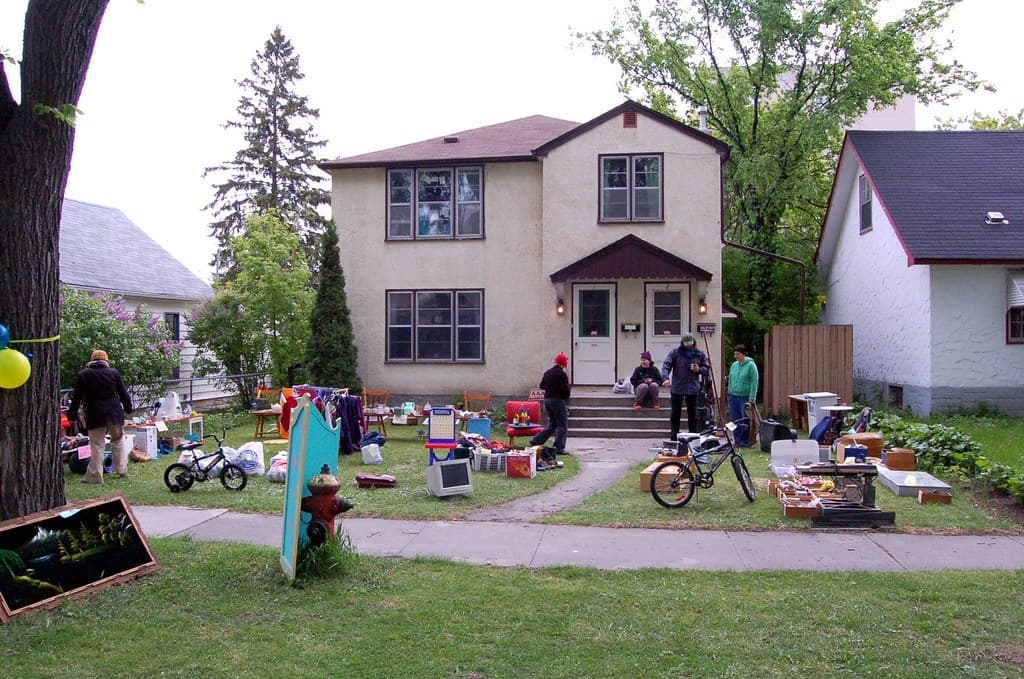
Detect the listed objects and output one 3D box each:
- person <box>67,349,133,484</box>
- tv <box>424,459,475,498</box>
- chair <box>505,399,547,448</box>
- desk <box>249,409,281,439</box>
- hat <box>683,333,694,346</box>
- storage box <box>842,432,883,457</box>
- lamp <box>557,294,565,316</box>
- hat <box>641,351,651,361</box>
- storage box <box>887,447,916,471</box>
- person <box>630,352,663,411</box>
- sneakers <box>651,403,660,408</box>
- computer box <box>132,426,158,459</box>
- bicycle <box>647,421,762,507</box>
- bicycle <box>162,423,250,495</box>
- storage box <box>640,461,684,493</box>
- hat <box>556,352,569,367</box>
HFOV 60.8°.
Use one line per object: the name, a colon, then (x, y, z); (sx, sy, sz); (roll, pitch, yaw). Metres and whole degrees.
person: (-7.600, 1.423, 16.116); (0.947, 2.358, 1.122); (-2, 9, -12)
tv: (-1.061, 2.419, 15.106); (0.657, 0.578, 0.645); (2, -4, -32)
chair: (0.240, 2.002, 20.468); (0.881, 1.211, 1.164); (-2, -14, 1)
desk: (-6.121, 2.171, 21.620); (0.955, 0.720, 0.968); (0, -4, -9)
hat: (3.802, 0.029, 18.800); (0.189, 0.214, 0.273); (-3, -4, 9)
storage box: (6.743, 2.033, 16.754); (0.749, 0.370, 0.616); (3, 9, 22)
lamp: (1.296, -0.877, 23.324); (0.226, 0.507, 0.190); (1, 9, 9)
hat: (3.331, 0.438, 21.826); (0.179, 0.207, 0.257); (-5, -12, 31)
storage box: (7.163, 2.218, 16.006); (0.520, 0.368, 0.345); (-1, -3, 8)
person: (3.378, 1.045, 21.829); (0.727, 1.393, 0.787); (0, 9, 3)
sneakers: (3.628, 1.654, 21.832); (0.231, 0.107, 0.119); (-7, 11, -40)
computer box: (-7.640, 2.166, 18.103); (0.508, 0.718, 0.419); (-6, 11, -34)
bicycle: (3.369, 2.185, 14.895); (2.098, 1.329, 1.019); (-2, -8, -2)
bicycle: (-5.535, 2.233, 15.761); (1.566, 1.070, 0.759); (0, 2, 8)
storage box: (2.557, 2.420, 15.157); (0.490, 0.349, 0.721); (-1, -1, 10)
hat: (1.015, 0.476, 18.295); (0.256, 0.373, 0.298); (3, 37, 12)
